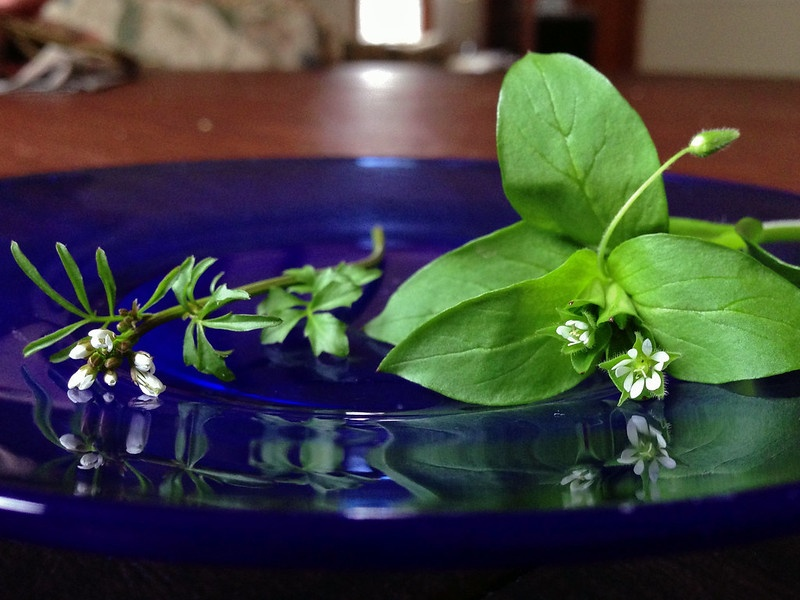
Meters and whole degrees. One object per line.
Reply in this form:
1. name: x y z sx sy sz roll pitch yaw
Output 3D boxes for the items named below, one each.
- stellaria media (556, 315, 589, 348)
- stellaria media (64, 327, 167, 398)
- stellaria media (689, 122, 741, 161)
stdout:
1. stellaria media: 0.069 0.013 0.289 0.013 0.006 0.011 -11 62 6
2. stellaria media: -0.114 0.026 0.295 0.033 0.013 0.031 13 9 -39
3. stellaria media: 0.122 -0.062 0.281 0.019 0.007 0.011 4 43 39
